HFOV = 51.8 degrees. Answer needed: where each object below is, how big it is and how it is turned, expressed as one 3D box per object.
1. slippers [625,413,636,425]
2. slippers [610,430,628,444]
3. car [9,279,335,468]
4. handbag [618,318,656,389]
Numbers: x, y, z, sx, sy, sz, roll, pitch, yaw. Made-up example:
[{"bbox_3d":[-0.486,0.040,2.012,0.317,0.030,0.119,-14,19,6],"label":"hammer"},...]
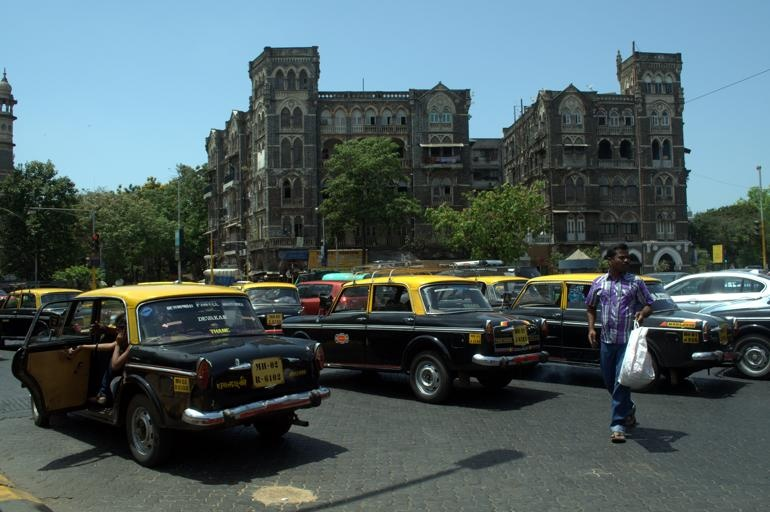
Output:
[{"bbox_3d":[4.065,2.722,13.145,0.128,0.143,0.352,0,3,19],"label":"slippers"},{"bbox_3d":[3.667,2.820,12.442,0.136,0.156,0.361,-1,-20,8],"label":"slippers"},{"bbox_3d":[-3.589,1.873,12.599,4.183,1.585,2.923,2,1,36],"label":"car"},{"bbox_3d":[3.942,1.588,12.365,0.520,1.076,0.532,6,14,31],"label":"handbag"}]
